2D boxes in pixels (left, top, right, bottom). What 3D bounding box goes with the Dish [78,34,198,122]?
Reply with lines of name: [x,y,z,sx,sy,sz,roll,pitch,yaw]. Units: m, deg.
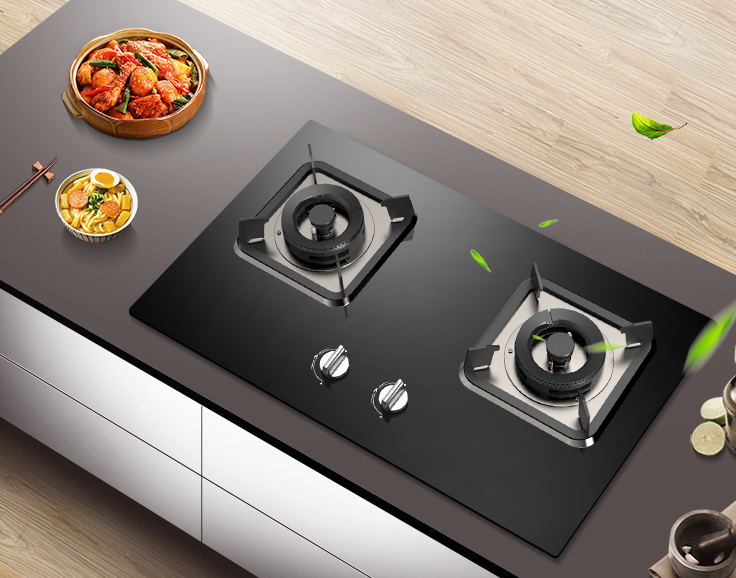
Dish: [-0.537,-0.493,1.441,0.247,0.051,0.220,-16,62,-14]
